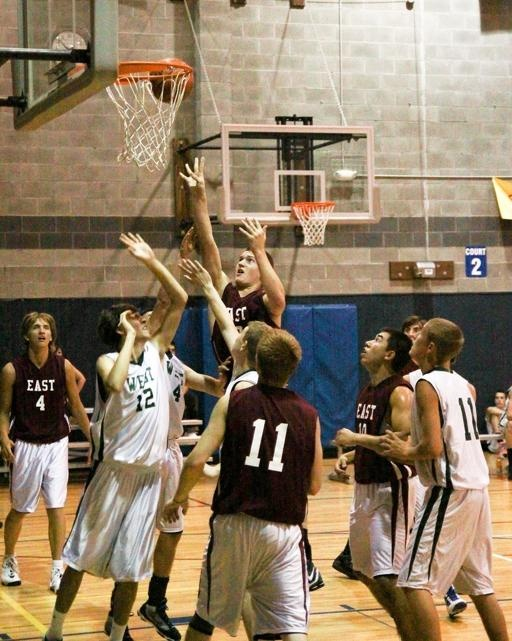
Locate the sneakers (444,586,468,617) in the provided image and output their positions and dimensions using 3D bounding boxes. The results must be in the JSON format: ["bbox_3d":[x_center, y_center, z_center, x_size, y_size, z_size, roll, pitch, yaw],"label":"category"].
[{"bbox_3d":[1.151,1.626,5.826,0.118,0.171,0.241,4,1,12],"label":"sneakers"}]

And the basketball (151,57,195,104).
[{"bbox_3d":[-0.739,-2.225,9.257,0.336,0.369,0.429,1,-6,-17],"label":"basketball"}]

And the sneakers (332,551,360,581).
[{"bbox_3d":[0.570,1.565,6.405,0.148,0.181,0.367,4,1,7],"label":"sneakers"}]

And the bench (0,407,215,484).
[{"bbox_3d":[-1.534,1.424,11.049,2.393,0.648,1.531,4,2,-16],"label":"bench"}]

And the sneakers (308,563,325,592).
[{"bbox_3d":[0.374,1.549,6.071,0.073,0.123,0.243,0,0,5],"label":"sneakers"}]
